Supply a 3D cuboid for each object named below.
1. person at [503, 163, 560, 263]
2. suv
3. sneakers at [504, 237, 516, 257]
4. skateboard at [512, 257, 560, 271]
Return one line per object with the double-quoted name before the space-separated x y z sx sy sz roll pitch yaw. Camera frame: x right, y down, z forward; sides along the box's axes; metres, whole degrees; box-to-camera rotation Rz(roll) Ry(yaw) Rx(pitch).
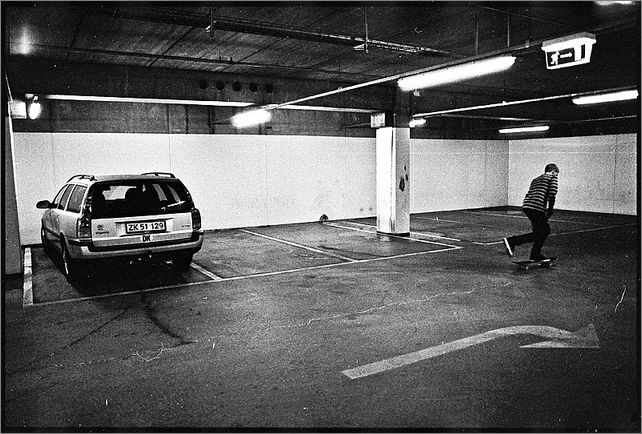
"person" 4.698 -0.078 10.252 1.053 2.109 0.730 -1 13 0
"suv" -4.417 -0.165 9.857 2.209 1.425 3.481 -3 12 -32
"sneakers" 4.344 0.699 10.708 0.198 0.458 0.169 -6 -29 -7
"skateboard" 4.731 1.046 10.226 1.121 0.182 0.317 -2 12 -17
